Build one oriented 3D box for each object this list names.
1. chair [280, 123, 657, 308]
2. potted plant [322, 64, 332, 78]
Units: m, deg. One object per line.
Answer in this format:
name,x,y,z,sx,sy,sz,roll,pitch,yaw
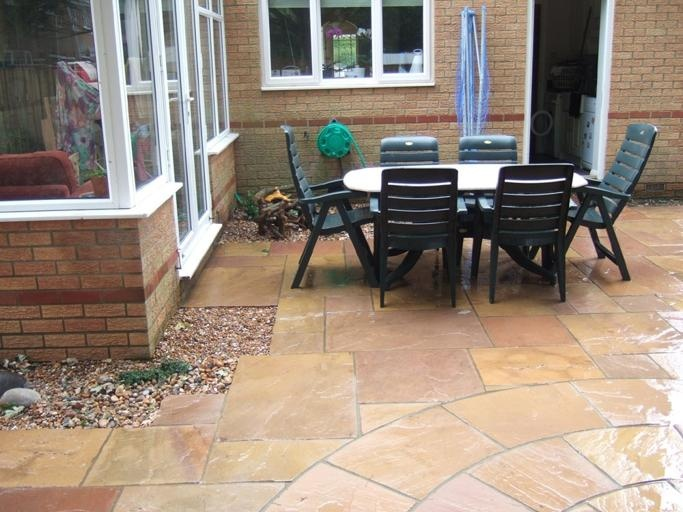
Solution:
chair,1.241,-0.578,5.282,3.538,1.428,1.755,-2,21,-2
potted plant,-0.178,-2.605,7.491,0.145,0.187,0.052,-2,24,-1
